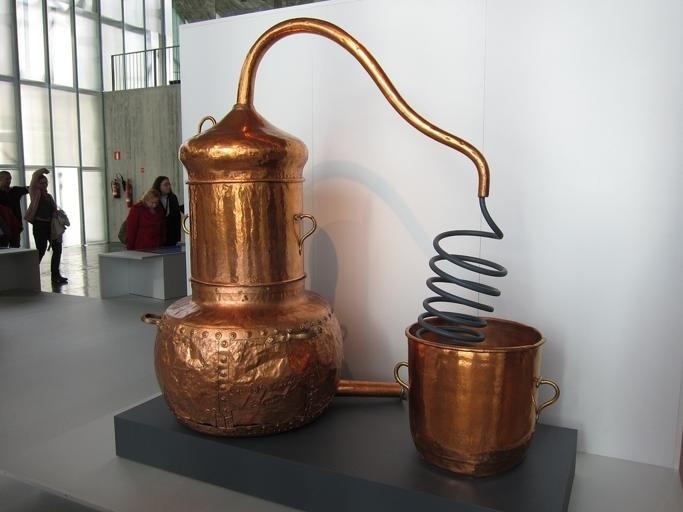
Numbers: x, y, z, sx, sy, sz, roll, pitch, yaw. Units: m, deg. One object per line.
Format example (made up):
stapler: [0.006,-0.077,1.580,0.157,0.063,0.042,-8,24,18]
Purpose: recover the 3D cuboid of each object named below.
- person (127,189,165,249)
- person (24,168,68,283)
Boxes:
person: [-2.503,-0.475,7.502,0.488,0.750,0.464,-2,11,-19]
person: [-3.948,-0.389,7.899,0.499,1.527,0.881,-4,12,-28]
